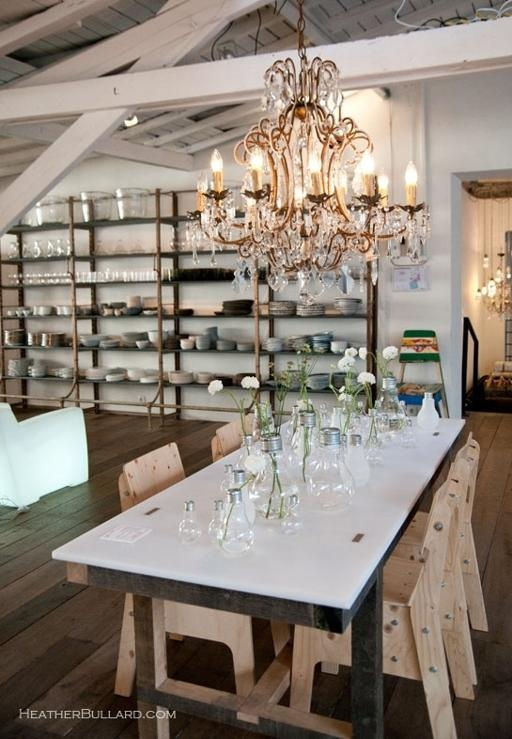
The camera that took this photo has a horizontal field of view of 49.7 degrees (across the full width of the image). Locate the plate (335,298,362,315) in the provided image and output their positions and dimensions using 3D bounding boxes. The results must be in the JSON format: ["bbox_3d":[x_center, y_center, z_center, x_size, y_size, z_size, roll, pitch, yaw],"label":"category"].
[{"bbox_3d":[0.965,-0.657,5.687,0.197,0.116,0.197,-6,11,-26],"label":"plate"}]

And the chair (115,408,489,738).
[{"bbox_3d":[0.207,0.657,1.791,0.976,0.624,0.990,1,6,20],"label":"chair"}]

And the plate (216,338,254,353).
[{"bbox_3d":[-0.242,-0.268,6.339,0.410,0.121,0.492,-1,5,-5],"label":"plate"}]

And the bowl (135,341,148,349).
[{"bbox_3d":[-1.385,-0.295,6.724,0.162,0.102,0.163,-1,5,0],"label":"bowl"}]

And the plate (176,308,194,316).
[{"bbox_3d":[-0.835,-0.679,6.615,0.170,0.103,0.262,-1,5,-3],"label":"plate"}]

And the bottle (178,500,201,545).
[{"bbox_3d":[-0.165,0.364,1.375,0.053,0.110,0.137,-1,5,-6],"label":"bottle"}]
